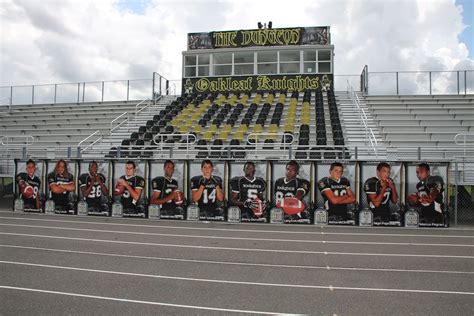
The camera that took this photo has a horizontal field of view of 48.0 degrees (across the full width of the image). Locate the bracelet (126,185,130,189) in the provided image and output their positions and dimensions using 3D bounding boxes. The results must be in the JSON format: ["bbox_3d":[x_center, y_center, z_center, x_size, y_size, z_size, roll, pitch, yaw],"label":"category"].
[{"bbox_3d":[-5.769,1.534,27.950,0.184,0.127,0.176,-2,-3,17],"label":"bracelet"}]

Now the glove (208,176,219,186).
[{"bbox_3d":[-1.175,1.189,27.201,0.542,0.456,0.185,5,7,17],"label":"glove"}]
